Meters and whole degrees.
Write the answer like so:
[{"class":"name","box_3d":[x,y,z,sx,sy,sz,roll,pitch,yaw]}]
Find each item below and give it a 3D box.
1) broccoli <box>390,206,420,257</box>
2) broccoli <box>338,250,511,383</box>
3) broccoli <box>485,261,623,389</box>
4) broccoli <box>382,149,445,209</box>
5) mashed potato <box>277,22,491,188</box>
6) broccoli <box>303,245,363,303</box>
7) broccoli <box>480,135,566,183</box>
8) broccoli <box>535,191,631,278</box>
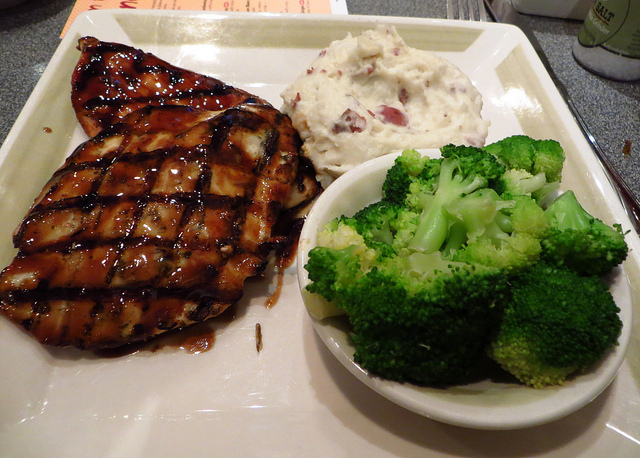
[{"class":"broccoli","box_3d":[0.478,0.020,3.035,0.176,0.091,0.234,-22,55,43]},{"class":"broccoli","box_3d":[0.533,0.399,3.061,0.810,0.628,1.067,3,23,4]},{"class":"broccoli","box_3d":[1.214,0.502,2.804,0.643,0.227,0.594,-27,83,15]},{"class":"broccoli","box_3d":[0.548,-0.316,3.179,0.197,0.342,0.317,-17,29,-28]},{"class":"mashed potato","box_3d":[0.479,-0.800,3.504,1.194,0.393,1.116,27,74,11]},{"class":"broccoli","box_3d":[0.073,0.209,2.949,0.380,0.251,0.273,-2,25,4]},{"class":"broccoli","box_3d":[1.239,-0.425,3.289,0.417,0.303,0.305,0,21,-3]},{"class":"broccoli","box_3d":[1.502,0.160,3.022,0.420,0.523,0.250,-13,67,32]}]
